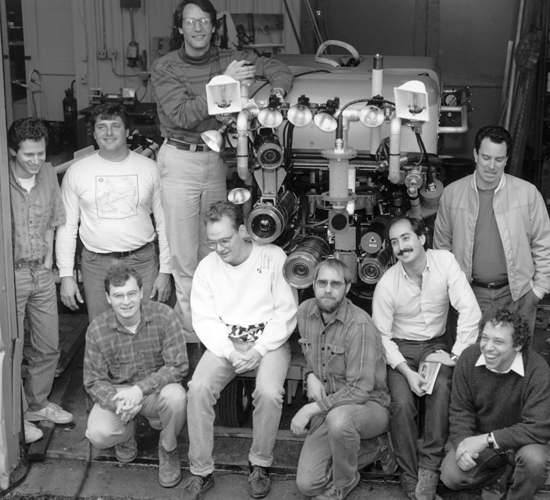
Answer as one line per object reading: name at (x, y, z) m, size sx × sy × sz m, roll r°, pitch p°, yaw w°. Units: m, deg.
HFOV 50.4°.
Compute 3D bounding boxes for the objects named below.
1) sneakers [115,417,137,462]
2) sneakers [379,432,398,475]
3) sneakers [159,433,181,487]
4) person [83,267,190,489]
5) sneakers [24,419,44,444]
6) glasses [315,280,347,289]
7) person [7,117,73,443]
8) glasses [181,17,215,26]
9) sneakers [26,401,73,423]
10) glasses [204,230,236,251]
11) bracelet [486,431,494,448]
sneakers at (-0.783, 0.998, 3.100) m, size 0.099 × 0.244 × 0.100 m, roll 1°, pitch -2°, yaw -1°
sneakers at (0.567, 1.027, 2.933) m, size 0.058 × 0.201 × 0.114 m, roll -12°, pitch 11°, yaw -28°
sneakers at (-0.532, 1.092, 2.999) m, size 0.084 × 0.105 × 0.257 m, roll -1°, pitch 7°, yaw -6°
person at (-0.713, 0.608, 2.999) m, size 0.523 × 1.068 × 0.489 m, roll -2°, pitch 13°, yaw -10°
sneakers at (-1.310, 0.990, 3.168) m, size 0.153 × 0.064 × 0.058 m, roll 4°, pitch 6°, yaw 31°
glasses at (0.262, 0.158, 2.804) m, size 0.130 × 0.045 × 0.038 m, roll 3°, pitch 13°, yaw 10°
person at (-1.284, 0.160, 3.218) m, size 0.295 × 1.726 × 0.581 m, roll -5°, pitch 14°, yaw -20°
glasses at (-0.451, -1.309, 3.380) m, size 0.176 × 0.053 × 0.115 m, roll -2°, pitch 13°, yaw -11°
sneakers at (-1.278, 0.930, 3.339) m, size 0.249 × 0.105 × 0.105 m, roll 3°, pitch 15°, yaw -19°
glasses at (-0.272, -0.040, 2.984) m, size 0.130 × 0.089 × 0.076 m, roll 2°, pitch 13°, yaw 6°
bracelet at (0.950, 0.839, 2.581) m, size 0.030 × 0.073 × 0.030 m, roll 4°, pitch 13°, yaw 18°
